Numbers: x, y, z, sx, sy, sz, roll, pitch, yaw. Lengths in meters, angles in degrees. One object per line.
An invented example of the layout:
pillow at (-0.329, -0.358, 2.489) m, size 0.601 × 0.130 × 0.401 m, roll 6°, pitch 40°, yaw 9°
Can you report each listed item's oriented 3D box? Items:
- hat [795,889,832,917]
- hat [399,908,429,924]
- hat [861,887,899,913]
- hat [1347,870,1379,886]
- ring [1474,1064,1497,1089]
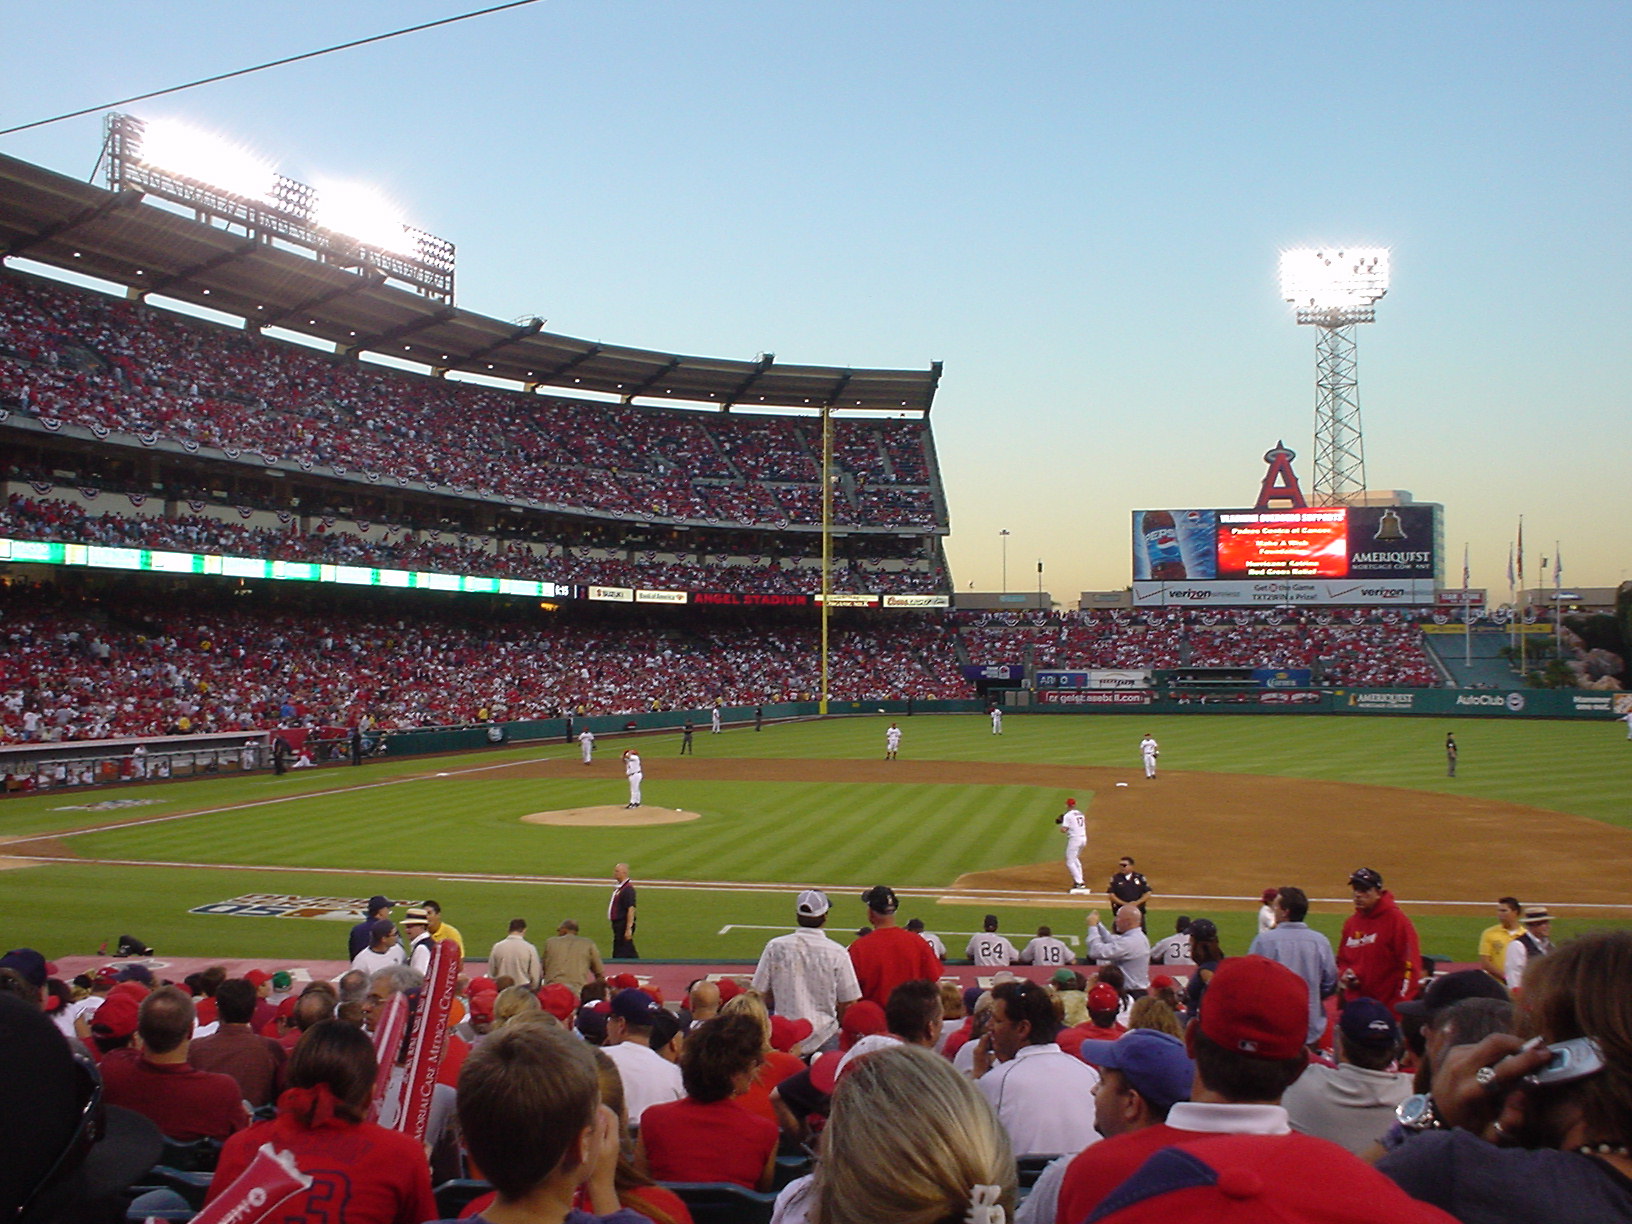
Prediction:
hat at (-0.038, 2.797, 15.122) m, size 0.258 × 0.226 × 0.279 m, roll -2°, pitch -7°, yaw 8°
hat at (-4.541, 3.420, 17.748) m, size 0.368 × 0.098 × 0.309 m, roll 3°, pitch -4°, yaw -2°
hat at (0.634, 2.848, 15.653) m, size 0.268 × 0.258 × 0.380 m, roll 0°, pitch -7°, yaw -6°
hat at (5.343, 2.615, 15.491) m, size 0.248 × 0.181 × 0.294 m, roll -3°, pitch -7°, yaw 15°
ring at (4.049, 2.814, 9.603) m, size 0.113 × 0.021 × 0.102 m, roll -22°, pitch 5°, yaw -11°
